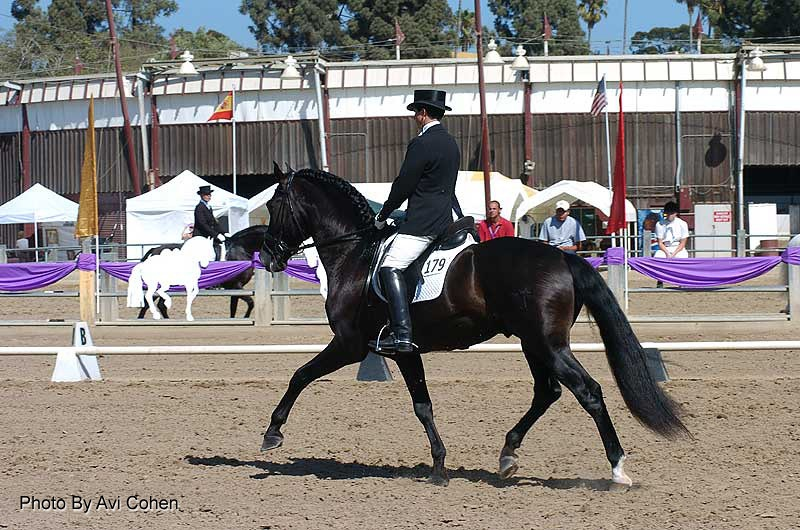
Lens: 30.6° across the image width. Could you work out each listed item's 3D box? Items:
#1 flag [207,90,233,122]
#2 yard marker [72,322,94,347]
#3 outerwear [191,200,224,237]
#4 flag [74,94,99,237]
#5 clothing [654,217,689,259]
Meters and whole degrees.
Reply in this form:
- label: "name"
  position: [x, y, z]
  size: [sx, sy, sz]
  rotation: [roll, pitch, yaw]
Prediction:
- label: "flag"
  position: [-8.571, -7.716, 70.124]
  size: [1.443, 1.570, 0.128]
  rotation: [-7, -22, 17]
- label: "yard marker"
  position: [-10.499, 2.321, 48.548]
  size: [0.716, 1.167, 0.965]
  rotation: [-1, 0, -20]
- label: "outerwear"
  position: [-6.947, -1.761, 53.650]
  size: [1.297, 1.376, 1.181]
  rotation: [11, 13, 33]
- label: "flag"
  position: [-11.405, -3.520, 53.305]
  size: [0.647, 5.292, 3.020]
  rotation: [0, 10, -12]
- label: "clothing"
  position: [9.879, -1.001, 52.913]
  size: [1.211, 1.494, 1.136]
  rotation: [4, 2, 18]
